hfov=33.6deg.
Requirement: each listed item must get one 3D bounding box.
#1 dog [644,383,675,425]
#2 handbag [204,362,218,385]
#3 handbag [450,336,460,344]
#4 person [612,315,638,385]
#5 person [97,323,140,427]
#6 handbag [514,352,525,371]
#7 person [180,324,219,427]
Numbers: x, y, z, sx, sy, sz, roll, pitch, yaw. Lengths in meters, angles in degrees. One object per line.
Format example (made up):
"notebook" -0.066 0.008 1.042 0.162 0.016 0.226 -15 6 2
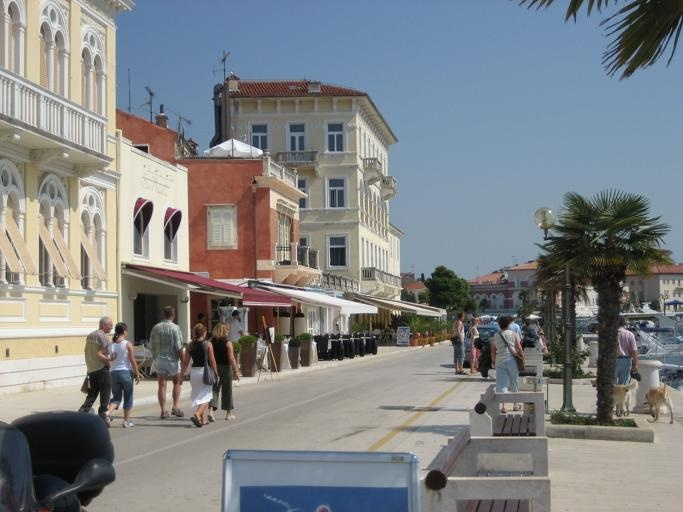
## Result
"dog" 6.724 3.147 23.790 0.543 0.765 1.403 -4 -7 15
"handbag" -2.722 2.449 23.256 0.182 0.422 0.396 -5 -11 16
"handbag" 3.573 2.656 35.302 0.239 0.257 0.423 2 3 10
"person" 6.303 2.197 24.999 0.471 1.289 0.857 -4 -6 11
"person" -4.583 2.470 23.431 0.653 2.201 1.572 -1 -6 -11
"handbag" 3.706 2.215 23.227 0.082 0.316 0.204 -3 8 -43
"person" -3.031 2.494 23.891 0.733 2.206 1.540 -2 -6 -9
